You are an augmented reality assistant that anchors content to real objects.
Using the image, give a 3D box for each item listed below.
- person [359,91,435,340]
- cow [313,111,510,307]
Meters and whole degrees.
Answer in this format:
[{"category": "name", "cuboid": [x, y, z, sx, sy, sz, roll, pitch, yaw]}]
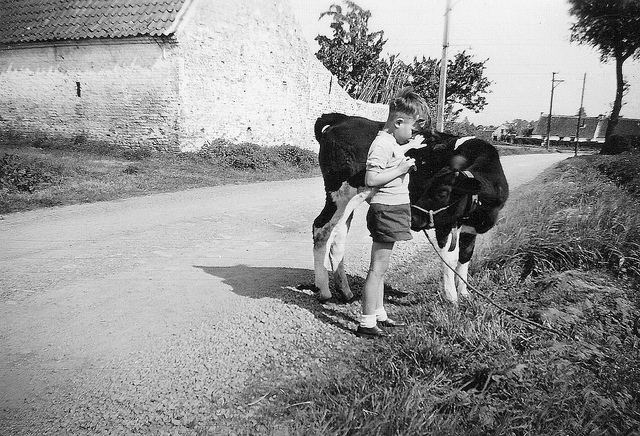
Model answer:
[{"category": "person", "cuboid": [0.713, -0.036, 4.020, 0.514, 2.242, 0.687, 4, 10, 13]}, {"category": "cow", "cuboid": [0.822, -0.021, 4.583, 2.547, 1.770, 0.720, 5, -13, -18]}]
